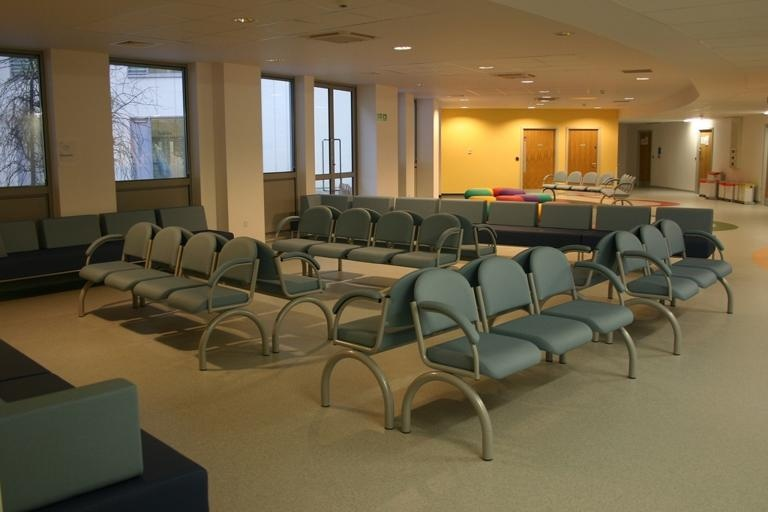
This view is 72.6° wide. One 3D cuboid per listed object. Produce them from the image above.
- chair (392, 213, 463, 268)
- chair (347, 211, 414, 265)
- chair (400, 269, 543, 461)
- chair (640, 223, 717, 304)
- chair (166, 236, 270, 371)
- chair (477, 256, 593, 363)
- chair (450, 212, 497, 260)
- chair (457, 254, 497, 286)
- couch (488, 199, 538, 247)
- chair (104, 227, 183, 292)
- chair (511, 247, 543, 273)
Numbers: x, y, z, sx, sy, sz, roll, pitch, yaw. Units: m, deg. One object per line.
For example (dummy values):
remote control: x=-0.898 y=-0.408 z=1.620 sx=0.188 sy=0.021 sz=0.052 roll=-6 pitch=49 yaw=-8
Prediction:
chair: x=0.618 y=-0.166 z=6.414 sx=0.780 sy=0.691 sz=0.896 roll=-2 pitch=3 yaw=-45
chair: x=0.052 y=-0.246 z=6.735 sx=0.683 sy=0.568 sz=0.884 roll=6 pitch=9 yaw=39
chair: x=0.582 y=0.672 z=3.617 sx=0.816 sy=1.136 sz=0.687 roll=8 pitch=14 yaw=36
chair: x=3.260 y=0.089 z=5.795 sx=0.624 sy=0.478 sz=1.086 roll=6 pitch=13 yaw=40
chair: x=-1.606 y=0.385 z=4.974 sx=0.823 sy=1.104 sz=0.940 roll=-6 pitch=12 yaw=-27
chair: x=1.024 y=0.364 z=4.125 sx=0.773 sy=0.918 sz=0.968 roll=-11 pitch=10 yaw=-43
chair: x=1.183 y=-0.245 z=7.000 sx=0.682 sy=0.593 sz=0.784 roll=-7 pitch=8 yaw=-44
chair: x=0.680 y=0.094 z=4.045 sx=0.297 sy=0.275 sz=0.230 roll=-4 pitch=10 yaw=-10
couch: x=1.987 y=-0.562 z=8.205 sx=1.054 sy=0.631 sz=0.737 roll=4 pitch=6 yaw=31
chair: x=-2.466 y=0.011 z=5.732 sx=0.964 sy=0.620 sz=0.682 roll=-6 pitch=9 yaw=-44
chair: x=1.157 y=0.028 z=4.401 sx=0.211 sy=0.192 sz=0.245 roll=-7 pitch=13 yaw=-22
